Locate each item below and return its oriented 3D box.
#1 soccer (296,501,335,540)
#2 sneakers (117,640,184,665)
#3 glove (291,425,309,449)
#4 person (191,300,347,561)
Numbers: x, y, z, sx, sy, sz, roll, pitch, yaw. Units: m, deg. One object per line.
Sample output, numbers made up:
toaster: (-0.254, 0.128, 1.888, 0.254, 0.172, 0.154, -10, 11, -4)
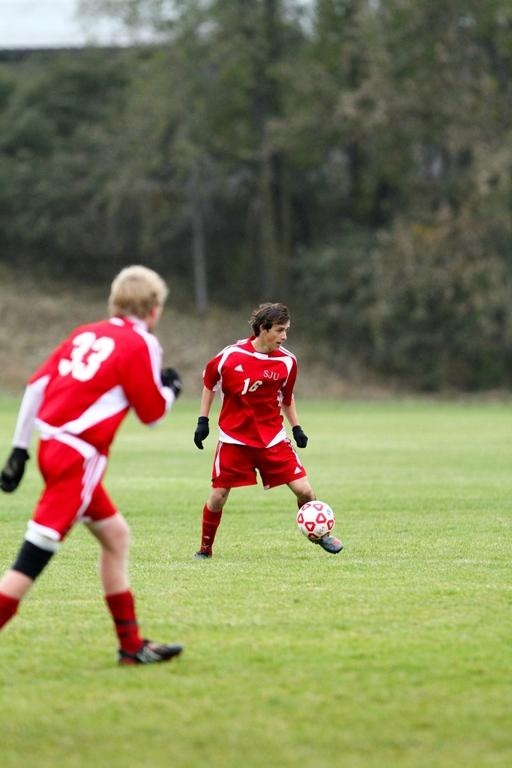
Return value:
soccer: (0.317, 0.731, 5.594, 0.179, 0.206, 0.161, 3, 8, 6)
sneakers: (-0.408, 1.039, 4.000, 0.188, 0.071, 0.099, -10, 4, -2)
glove: (0.265, 0.308, 5.883, 0.108, 0.145, 0.074, -14, 12, -24)
person: (0.062, 0.259, 5.768, 0.778, 1.416, 0.657, 1, 8, -3)
